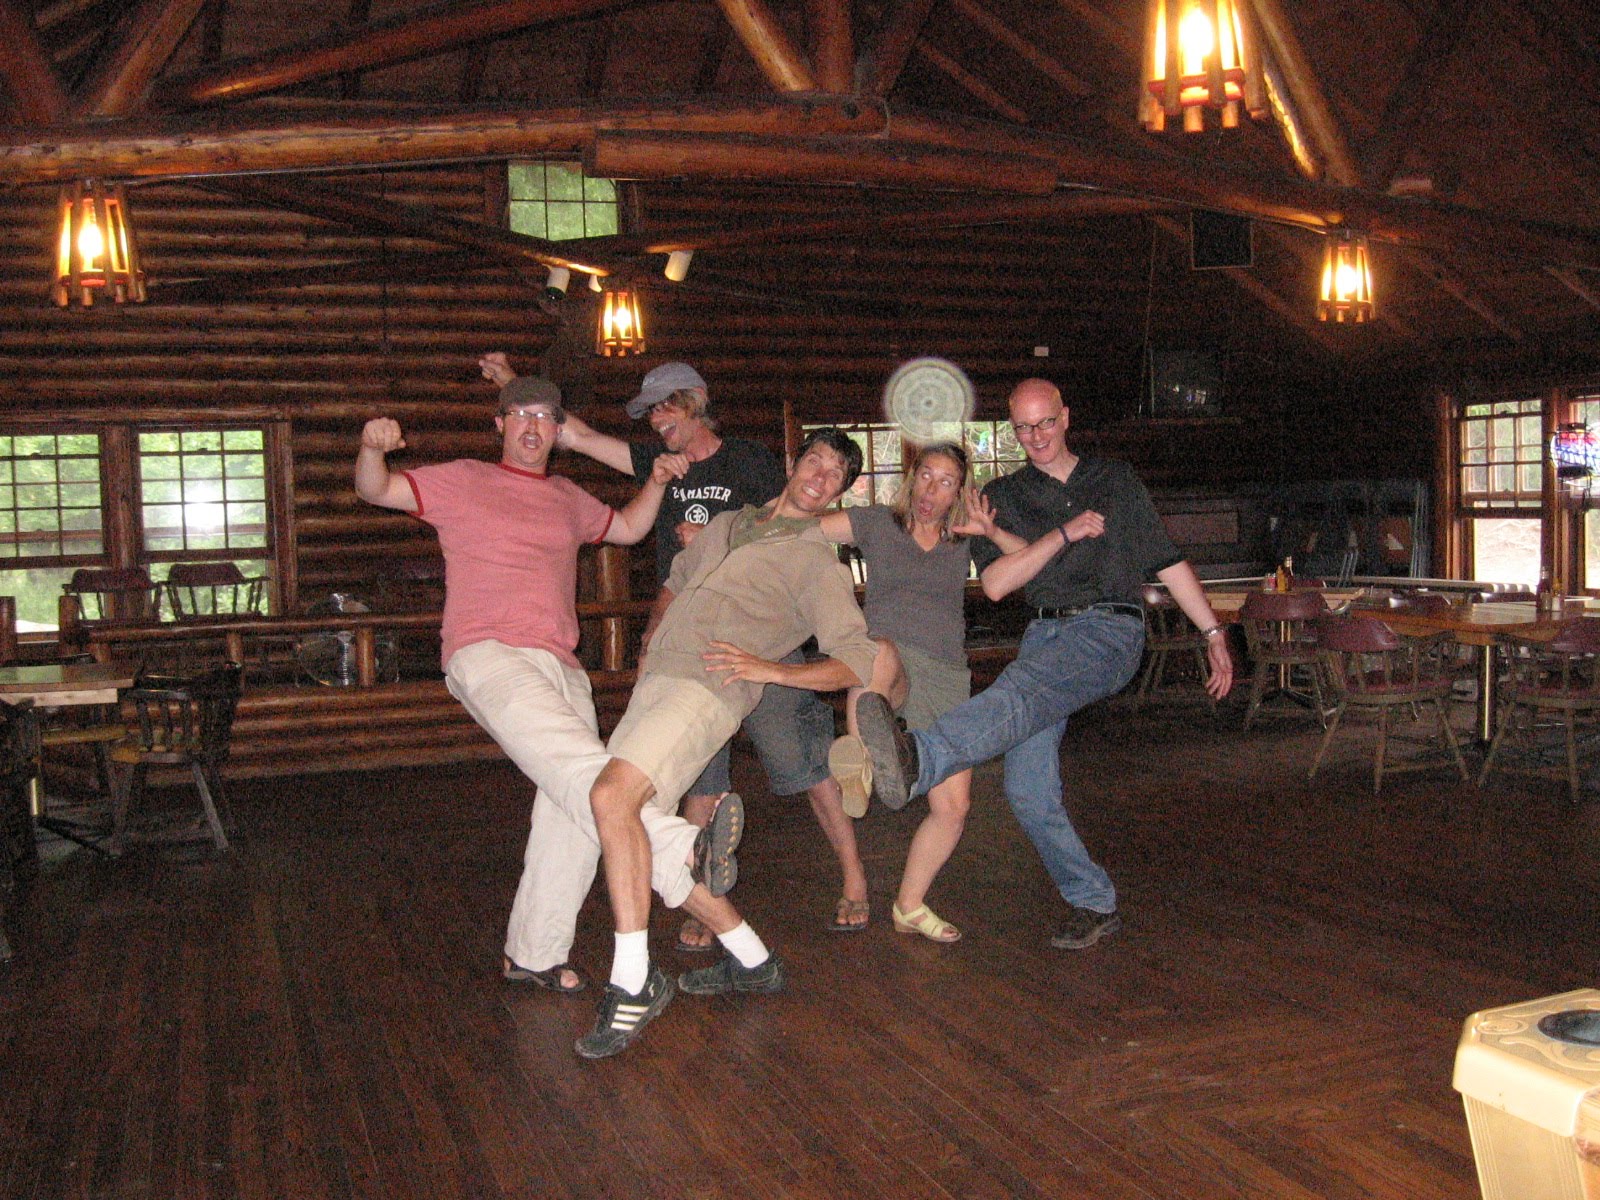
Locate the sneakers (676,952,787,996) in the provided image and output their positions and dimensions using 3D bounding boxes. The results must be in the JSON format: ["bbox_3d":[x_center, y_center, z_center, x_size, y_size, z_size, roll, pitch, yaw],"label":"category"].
[{"bbox_3d":[-0.258,1.372,4.454,0.428,0.148,0.148,2,-2,2],"label":"sneakers"}]

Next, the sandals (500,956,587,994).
[{"bbox_3d":[-0.958,1.387,4.476,0.267,0.080,0.127,-1,-4,3],"label":"sandals"}]

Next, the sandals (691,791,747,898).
[{"bbox_3d":[-0.269,0.800,4.069,0.188,0.347,0.186,1,2,-35],"label":"sandals"}]

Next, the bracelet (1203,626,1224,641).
[{"bbox_3d":[1.587,0.127,4.657,0.101,0.053,0.094,0,-3,-11],"label":"bracelet"}]

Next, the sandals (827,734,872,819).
[{"bbox_3d":[0.160,0.626,4.298,0.172,0.284,0.140,-1,4,17],"label":"sandals"}]

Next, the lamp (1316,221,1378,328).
[{"bbox_3d":[3.561,-2.135,7.897,0.322,0.552,0.492,0,6,18],"label":"lamp"}]

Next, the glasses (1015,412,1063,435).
[{"bbox_3d":[0.940,-0.686,4.713,0.228,0.085,0.173,-2,5,-5],"label":"glasses"}]

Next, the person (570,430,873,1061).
[{"bbox_3d":[-0.297,0.425,4.207,1.183,2.037,0.807,-4,7,-19],"label":"person"}]

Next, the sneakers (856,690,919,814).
[{"bbox_3d":[0.262,0.526,4.208,0.185,0.413,0.213,-18,-6,41],"label":"sneakers"}]

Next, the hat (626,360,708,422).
[{"bbox_3d":[-0.565,-0.879,5.005,0.405,0.170,0.275,0,0,-11],"label":"hat"}]

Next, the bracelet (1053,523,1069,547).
[{"bbox_3d":[0.981,-0.253,4.553,0.066,0.061,0.029,13,-19,-40],"label":"bracelet"}]

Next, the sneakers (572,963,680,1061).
[{"bbox_3d":[-0.599,1.335,4.014,0.310,0.265,0.284,-3,6,-10],"label":"sneakers"}]

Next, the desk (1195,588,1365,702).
[{"bbox_3d":[3.803,0.446,9.635,0.811,0.986,0.795,-1,2,28],"label":"desk"}]

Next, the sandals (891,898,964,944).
[{"bbox_3d":[0.490,1.295,4.898,0.297,0.109,0.144,0,0,33],"label":"sandals"}]

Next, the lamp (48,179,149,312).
[{"bbox_3d":[-3.353,-1.692,5.678,0.447,0.508,0.422,13,21,32],"label":"lamp"}]

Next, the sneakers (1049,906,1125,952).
[{"bbox_3d":[1.119,1.307,4.824,0.331,0.103,0.119,0,-5,-33],"label":"sneakers"}]

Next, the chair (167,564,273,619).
[{"bbox_3d":[-5.242,-0.100,10.862,0.825,0.505,2.162,-4,5,-23],"label":"chair"}]
